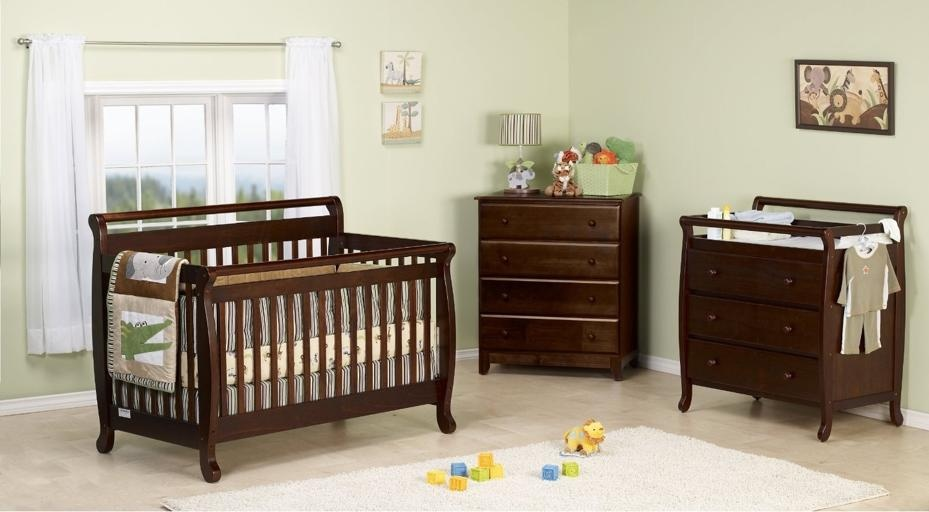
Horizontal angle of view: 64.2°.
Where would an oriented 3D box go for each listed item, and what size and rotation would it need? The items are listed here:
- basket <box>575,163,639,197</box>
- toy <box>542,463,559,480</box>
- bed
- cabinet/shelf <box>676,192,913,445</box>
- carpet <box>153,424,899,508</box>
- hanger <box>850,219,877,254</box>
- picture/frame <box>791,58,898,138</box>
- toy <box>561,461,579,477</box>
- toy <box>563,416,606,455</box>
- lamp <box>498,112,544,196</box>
[{"bbox_3d":[1.227,-0.650,6.326,0.390,0.193,0.442,-2,7,-11],"label":"basket"},{"bbox_3d":[0.511,1.299,4.449,0.094,0.079,0.087,2,-15,20],"label":"toy"},{"bbox_3d":[-1.250,0.414,5.125,1.434,1.254,2.057,9,11,33],"label":"bed"},{"bbox_3d":[2.210,0.468,5.146,1.496,1.408,0.601,6,14,26],"label":"cabinet/shelf"},{"bbox_3d":[0.565,1.339,4.422,3.675,0.059,0.896,-1,11,-6],"label":"carpet"},{"bbox_3d":[2.614,-0.093,4.877,0.177,0.195,0.082,-10,16,-39],"label":"hanger"},{"bbox_3d":[2.680,-1.129,5.264,0.809,0.496,0.027,-1,0,-14],"label":"picture/frame"},{"bbox_3d":[0.636,1.279,4.440,0.094,0.059,0.087,-2,5,-28],"label":"toy"},{"bbox_3d":[0.761,1.151,4.724,0.287,0.179,0.244,-7,-7,42],"label":"toy"},{"bbox_3d":[0.470,-0.914,6.494,0.352,0.664,0.518,0,12,2],"label":"lamp"}]
